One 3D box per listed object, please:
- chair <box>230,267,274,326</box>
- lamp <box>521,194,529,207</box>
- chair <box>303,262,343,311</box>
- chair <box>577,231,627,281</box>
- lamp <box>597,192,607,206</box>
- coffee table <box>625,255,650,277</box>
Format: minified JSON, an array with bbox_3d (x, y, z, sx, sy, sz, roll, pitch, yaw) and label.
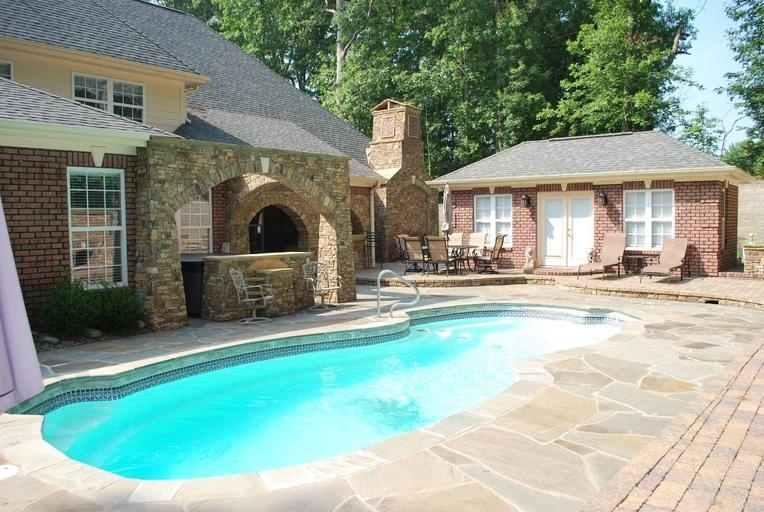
[{"bbox_3d":[-3.235,1.006,14.247,1.033,1.203,0.862,0,-1,6],"label":"chair"},{"bbox_3d":[5.665,-2.176,22.243,0.312,0.523,0.350,-10,15,-32],"label":"lamp"},{"bbox_3d":[-1.596,1.008,16.209,0.837,0.963,0.734,10,0,-6],"label":"chair"},{"bbox_3d":[7.814,-0.012,19.923,1.341,1.514,2.322,5,13,25],"label":"chair"},{"bbox_3d":[8.120,-2.060,20.677,0.389,0.521,0.181,-10,16,-34],"label":"lamp"},{"bbox_3d":[9.067,0.357,19.884,0.824,0.654,0.424,2,5,42],"label":"coffee table"}]
